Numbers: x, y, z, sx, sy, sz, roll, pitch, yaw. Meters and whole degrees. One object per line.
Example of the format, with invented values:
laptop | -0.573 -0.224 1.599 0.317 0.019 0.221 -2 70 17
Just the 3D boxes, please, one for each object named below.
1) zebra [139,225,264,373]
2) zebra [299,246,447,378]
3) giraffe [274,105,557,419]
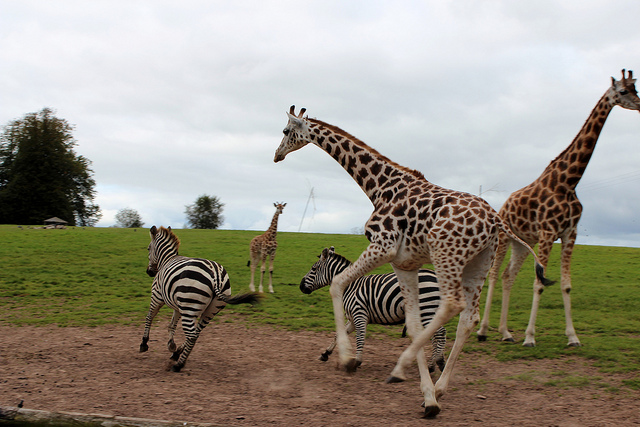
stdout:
zebra | -2.955 1.768 10.510 1.608 2.777 2.490 -2 5 -31
zebra | 1.199 2.134 10.524 4.050 2.217 1.113 -5 -16 38
giraffe | 0.881 0.666 8.329 4.123 4.877 1.886 4 5 33
